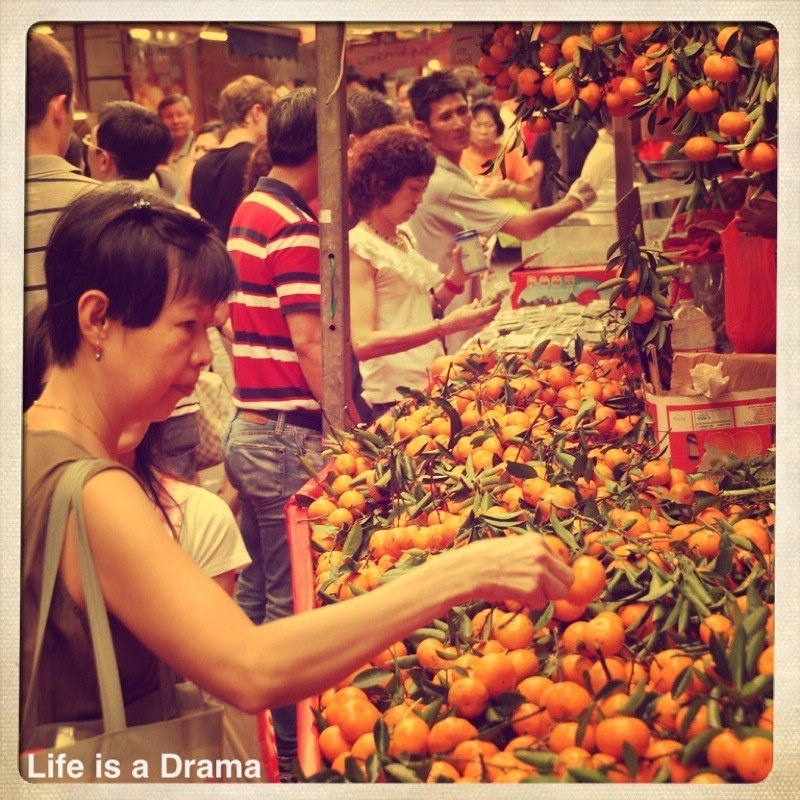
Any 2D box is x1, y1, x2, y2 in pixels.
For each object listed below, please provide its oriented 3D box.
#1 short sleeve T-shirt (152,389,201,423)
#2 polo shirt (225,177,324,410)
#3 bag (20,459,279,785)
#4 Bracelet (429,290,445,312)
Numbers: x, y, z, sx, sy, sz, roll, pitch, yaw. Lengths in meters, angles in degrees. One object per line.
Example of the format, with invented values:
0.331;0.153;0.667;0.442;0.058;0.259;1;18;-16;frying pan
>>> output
-0.732;0.026;2.418;0.126;0.074;0.092;-33;20;-20;short sleeve T-shirt
-0.479;-0.401;2.879;0.296;0.998;0.670;-5;12;-26;polo shirt
-0.507;0.437;1.447;0.426;0.604;0.362;-6;3;-42;bag
0.220;-0.551;4.186;0.069;0.041;0.109;2;43;0;Bracelet
